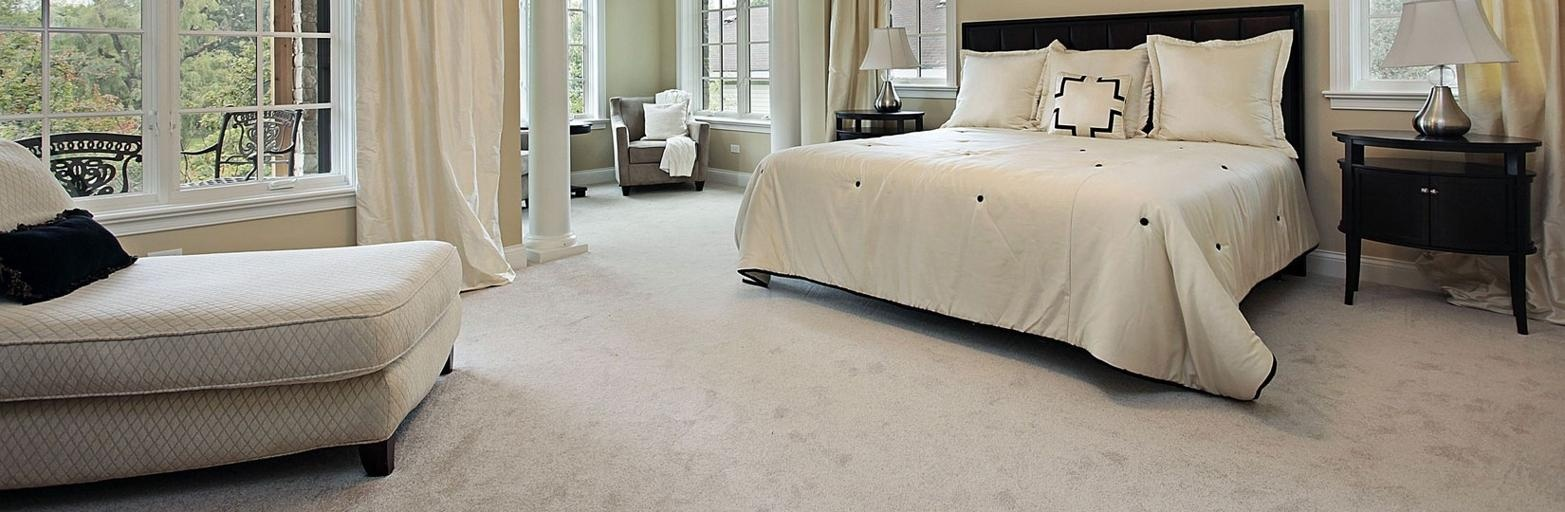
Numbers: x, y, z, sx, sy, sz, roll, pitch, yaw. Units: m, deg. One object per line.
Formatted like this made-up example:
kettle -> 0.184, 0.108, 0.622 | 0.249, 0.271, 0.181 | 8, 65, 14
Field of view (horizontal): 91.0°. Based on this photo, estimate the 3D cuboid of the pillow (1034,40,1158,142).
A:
pillow -> 3.738, -1.905, 8.996 | 1.558, 1.029, 0.392 | 4, 1, 22

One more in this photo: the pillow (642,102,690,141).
pillow -> -1.782, -2.103, 12.010 | 1.040, 0.571, 0.317 | 0, 3, 3

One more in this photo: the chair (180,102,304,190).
chair -> -5.895, -1.219, 8.615 | 1.168, 1.184, 1.039 | 0, 1, -5

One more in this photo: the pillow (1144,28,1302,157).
pillow -> 4.989, -1.790, 8.636 | 2.357, 1.230, 0.434 | 2, 0, 11

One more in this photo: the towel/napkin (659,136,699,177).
towel/napkin -> -1.559, -1.510, 11.818 | 0.633, 0.558, 0.204 | 0, -19, -2
